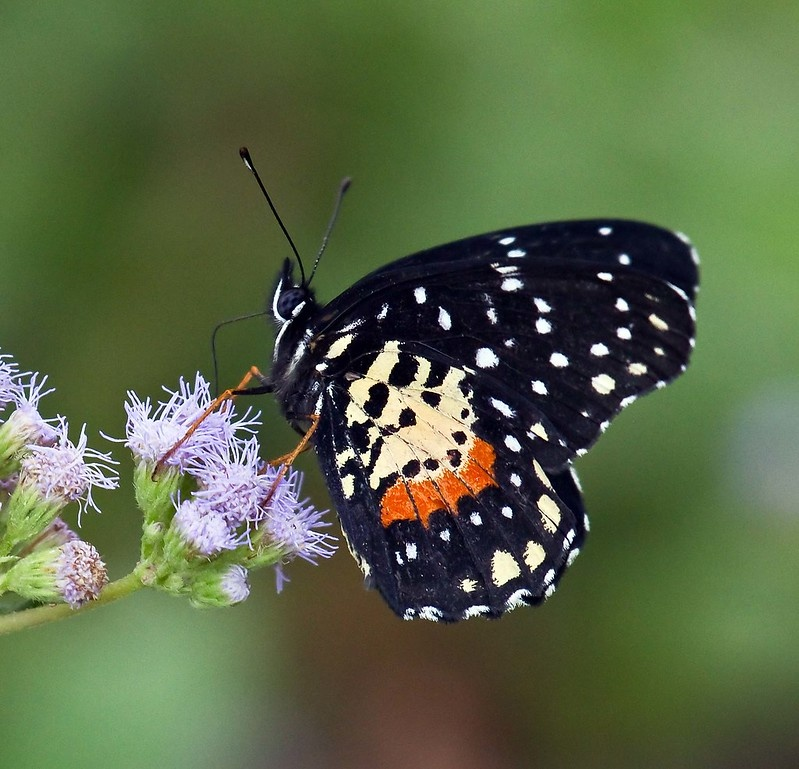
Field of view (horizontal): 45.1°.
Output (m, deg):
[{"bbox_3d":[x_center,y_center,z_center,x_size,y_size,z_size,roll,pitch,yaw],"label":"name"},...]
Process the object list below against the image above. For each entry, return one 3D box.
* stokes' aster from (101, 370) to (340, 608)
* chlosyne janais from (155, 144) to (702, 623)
[{"bbox_3d":[-0.738,0.454,3.956,0.598,1.040,1.245,-4,-76,-1],"label":"stokes' aster"},{"bbox_3d":[0.153,0.076,4.903,1.935,1.910,2.290,-13,-62,-14],"label":"chlosyne janais"}]
